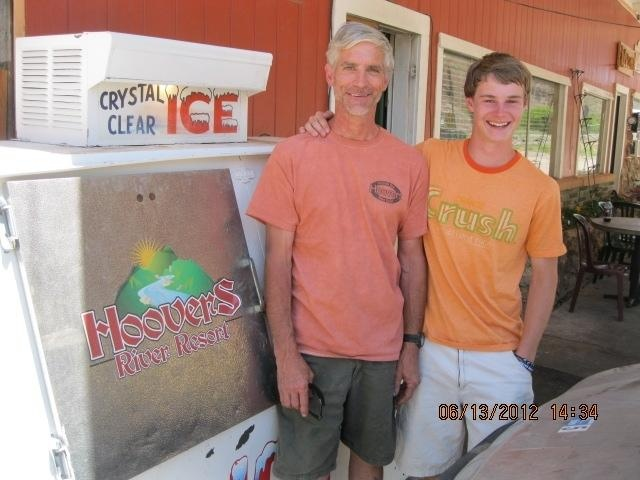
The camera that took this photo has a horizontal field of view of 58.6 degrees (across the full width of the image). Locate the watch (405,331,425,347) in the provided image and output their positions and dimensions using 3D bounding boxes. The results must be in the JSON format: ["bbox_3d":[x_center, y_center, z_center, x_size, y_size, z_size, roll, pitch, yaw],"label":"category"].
[{"bbox_3d":[0.414,0.426,2.507,0.079,0.053,0.080,-4,-16,33],"label":"watch"}]
